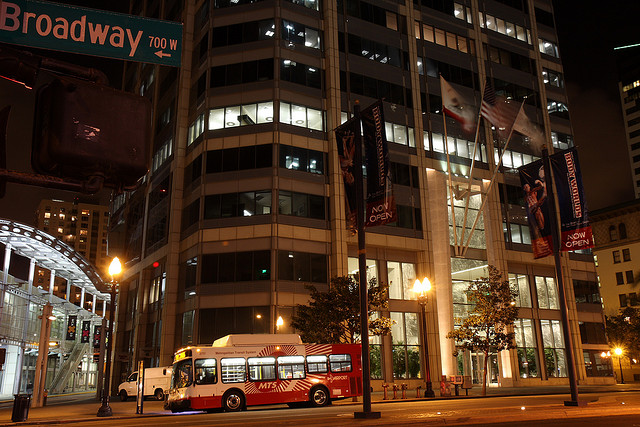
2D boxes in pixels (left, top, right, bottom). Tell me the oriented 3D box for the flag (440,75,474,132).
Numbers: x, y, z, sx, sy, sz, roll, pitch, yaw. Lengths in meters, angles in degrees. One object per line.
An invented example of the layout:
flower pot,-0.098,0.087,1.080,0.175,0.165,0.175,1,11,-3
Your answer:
flag,12.370,-9.517,50.267,1.705,5.022,4.169,-17,-26,33

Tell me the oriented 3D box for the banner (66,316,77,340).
banner,-25.846,11.698,58.347,0.737,2.405,4.064,7,-24,-23

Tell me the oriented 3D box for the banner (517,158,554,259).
banner,11.928,-0.327,30.638,1.224,5.373,3.268,-10,-23,20

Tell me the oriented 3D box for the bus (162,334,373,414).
bus,-3.200,9.606,32.754,15.788,4.823,4.251,6,-13,-27
